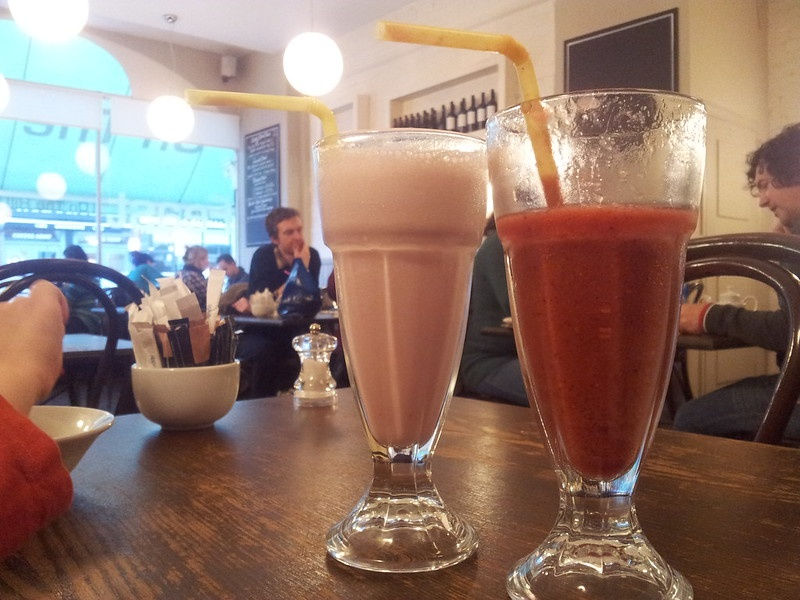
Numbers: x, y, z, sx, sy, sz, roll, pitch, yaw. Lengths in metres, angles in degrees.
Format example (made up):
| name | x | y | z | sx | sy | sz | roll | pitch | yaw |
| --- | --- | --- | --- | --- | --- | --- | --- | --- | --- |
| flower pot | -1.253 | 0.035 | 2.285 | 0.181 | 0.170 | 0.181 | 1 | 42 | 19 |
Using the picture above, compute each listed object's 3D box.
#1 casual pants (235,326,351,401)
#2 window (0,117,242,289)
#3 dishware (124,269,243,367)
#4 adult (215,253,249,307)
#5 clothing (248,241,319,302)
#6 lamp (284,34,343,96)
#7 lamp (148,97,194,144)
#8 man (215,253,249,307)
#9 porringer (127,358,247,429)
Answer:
| name | x | y | z | sx | sy | sz | roll | pitch | yaw |
| --- | --- | --- | --- | --- | --- | --- | --- | --- | --- |
| casual pants | -0.825 | 0.406 | 4.418 | 0.903 | 0.692 | 0.815 | 1 | -8 | -3 |
| window | -3.485 | -1.316 | 7.500 | 2.729 | 1.488 | 0.123 | -1 | 0 | -38 |
| dishware | -0.393 | 0.047 | 1.141 | 0.177 | 0.209 | 0.187 | 1 | -7 | -19 |
| adult | -1.399 | -0.185 | 5.120 | 0.258 | 0.260 | 0.675 | 12 | 10 | -14 |
| clothing | -0.864 | -0.208 | 4.511 | 0.463 | 0.541 | 0.316 | 6 | -17 | -32 |
| lamp | -0.626 | -1.656 | 4.305 | 0.316 | 0.348 | 0.271 | 2 | 4 | 35 |
| lamp | -2.096 | -1.657 | 5.552 | 0.369 | 0.396 | 0.320 | -2 | 4 | -21 |
| man | -1.399 | -0.185 | 5.120 | 0.258 | 0.260 | 0.675 | 12 | 10 | -14 |
| porringer | -0.382 | 0.156 | 1.071 | 0.195 | 0.109 | 0.198 | 3 | 3 | 41 |
